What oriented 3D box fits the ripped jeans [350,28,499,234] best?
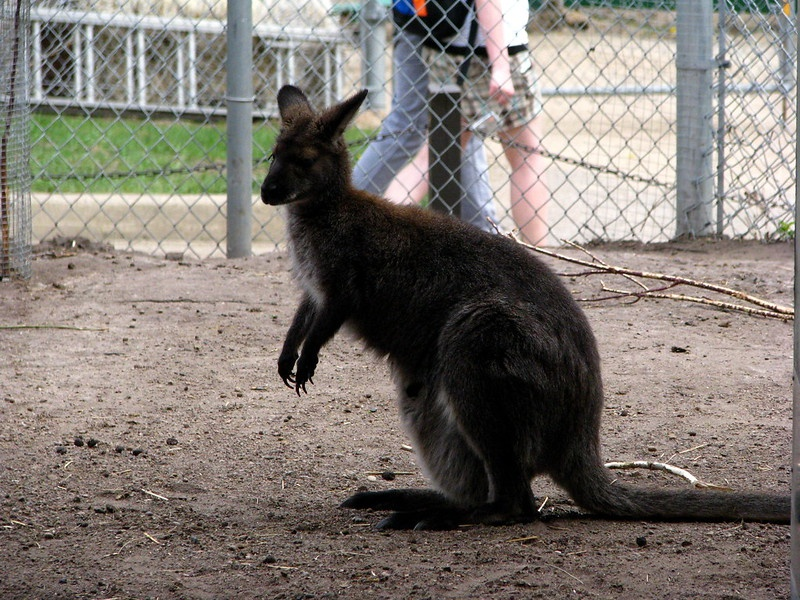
[{"bbox_3d":[0.272,-1.181,9.916,0.912,1.570,0.982,-14,22,-40],"label":"ripped jeans"}]

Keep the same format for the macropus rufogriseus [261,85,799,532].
[{"bbox_3d":[-0.351,0.270,7.505,4.223,2.329,1.168,9,-6,-1],"label":"macropus rufogriseus"}]
